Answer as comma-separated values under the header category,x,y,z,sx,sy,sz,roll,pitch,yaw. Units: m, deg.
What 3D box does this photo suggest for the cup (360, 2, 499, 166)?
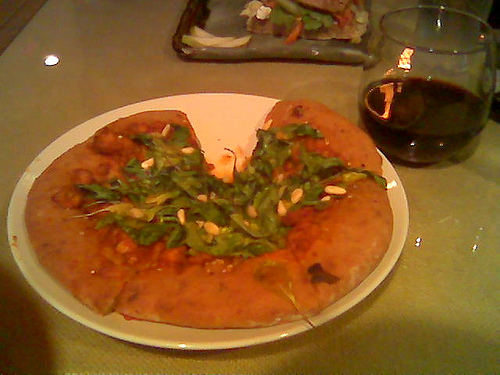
category,x,y,z,sx,sy,sz,roll,pitch,yaw
cup,0.764,-0.414,1.800,0.528,0.497,0.514,-1,47,1
